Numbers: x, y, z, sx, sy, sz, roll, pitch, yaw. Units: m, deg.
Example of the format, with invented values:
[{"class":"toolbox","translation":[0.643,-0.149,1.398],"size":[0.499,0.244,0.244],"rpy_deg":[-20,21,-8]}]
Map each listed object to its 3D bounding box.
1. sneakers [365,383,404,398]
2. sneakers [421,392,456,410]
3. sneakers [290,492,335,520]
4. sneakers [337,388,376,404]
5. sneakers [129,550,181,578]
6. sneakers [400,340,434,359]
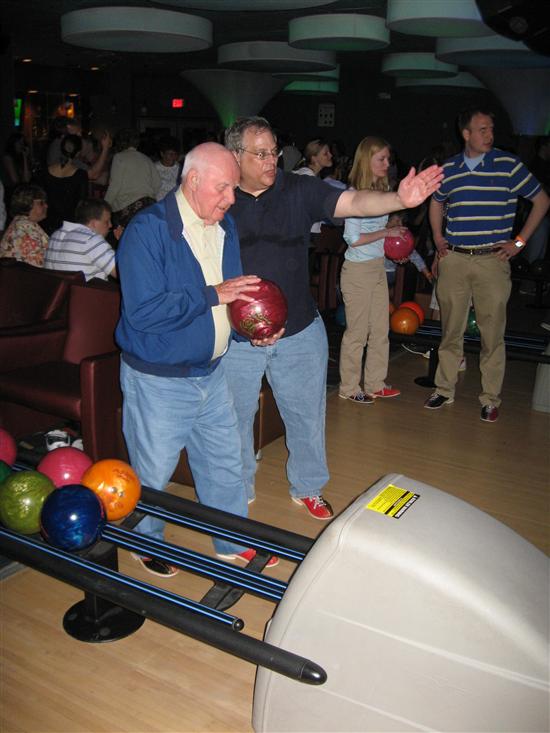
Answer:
[{"class":"sneakers","translation":[0.852,0.195,4.288],"size":[0.220,0.080,0.107],"rpy_deg":[-4,11,1]},{"class":"sneakers","translation":[1.235,0.252,4.110],"size":[0.102,0.105,0.262],"rpy_deg":[6,8,26]},{"class":"sneakers","translation":[0.189,0.688,2.674],"size":[0.222,0.085,0.087],"rpy_deg":[20,53,33]},{"class":"sneakers","translation":[0.620,0.224,4.175],"size":[0.235,0.093,0.102],"rpy_deg":[1,18,14]},{"class":"sneakers","translation":[-0.523,0.793,2.211],"size":[0.261,0.063,0.087],"rpy_deg":[8,16,28]},{"class":"sneakers","translation":[1.408,-0.228,5.362],"size":[0.308,0.069,0.192],"rpy_deg":[16,40,16]}]
